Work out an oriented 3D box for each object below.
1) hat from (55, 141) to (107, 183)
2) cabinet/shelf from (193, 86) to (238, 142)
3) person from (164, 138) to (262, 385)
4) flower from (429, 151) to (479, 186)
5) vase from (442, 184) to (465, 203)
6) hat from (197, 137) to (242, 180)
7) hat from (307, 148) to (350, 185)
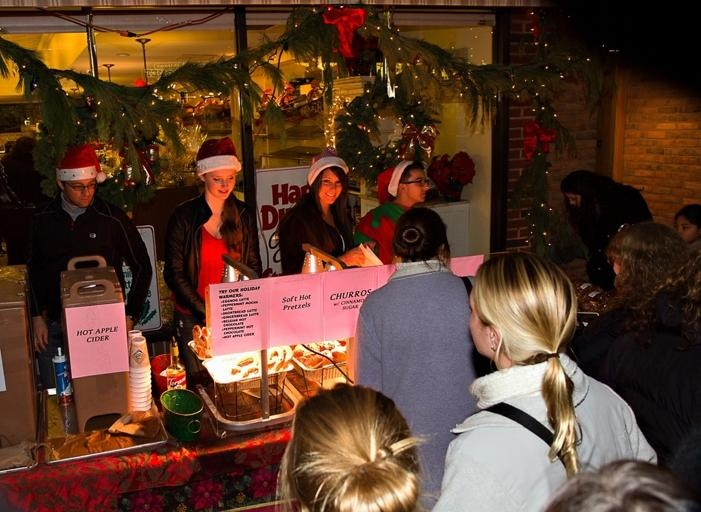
[{"bbox_3d":[-1.465,-0.534,2.980,0.281,0.222,0.205,-2,17,-6],"label":"hat"},{"bbox_3d":[-1.201,-1.232,4.811,0.426,0.451,0.322,-3,6,-1],"label":"cabinet/shelf"},{"bbox_3d":[-0.912,-0.040,3.260,0.441,1.373,0.716,0,7,26],"label":"person"},{"bbox_3d":[1.091,-0.863,5.644,0.392,0.395,0.296,-1,-27,12],"label":"flower"},{"bbox_3d":[1.078,-0.664,5.598,0.173,0.137,0.184,2,7,8],"label":"vase"},{"bbox_3d":[-0.836,-0.602,3.256,0.246,0.206,0.220,12,14,37],"label":"hat"},{"bbox_3d":[-0.158,-0.639,3.581,0.245,0.240,0.245,-10,21,-11],"label":"hat"}]
